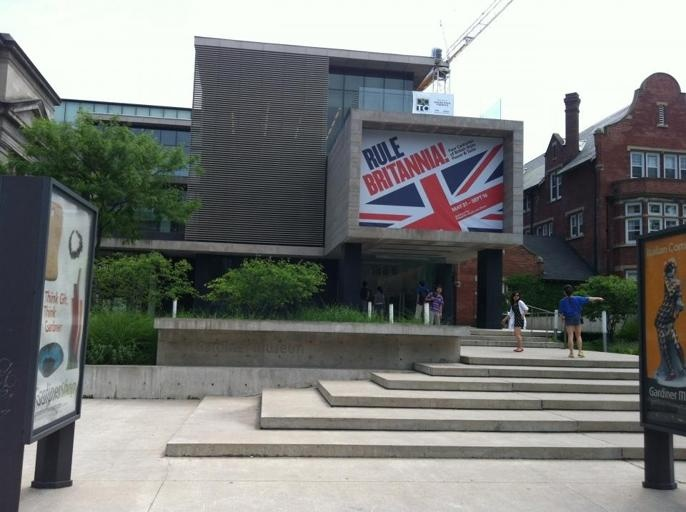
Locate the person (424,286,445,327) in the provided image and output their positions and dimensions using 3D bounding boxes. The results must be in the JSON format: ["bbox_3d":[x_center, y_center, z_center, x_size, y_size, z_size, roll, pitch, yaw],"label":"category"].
[{"bbox_3d":[2.811,1.579,23.497,0.511,1.259,1.899,2,11,6],"label":"person"}]
